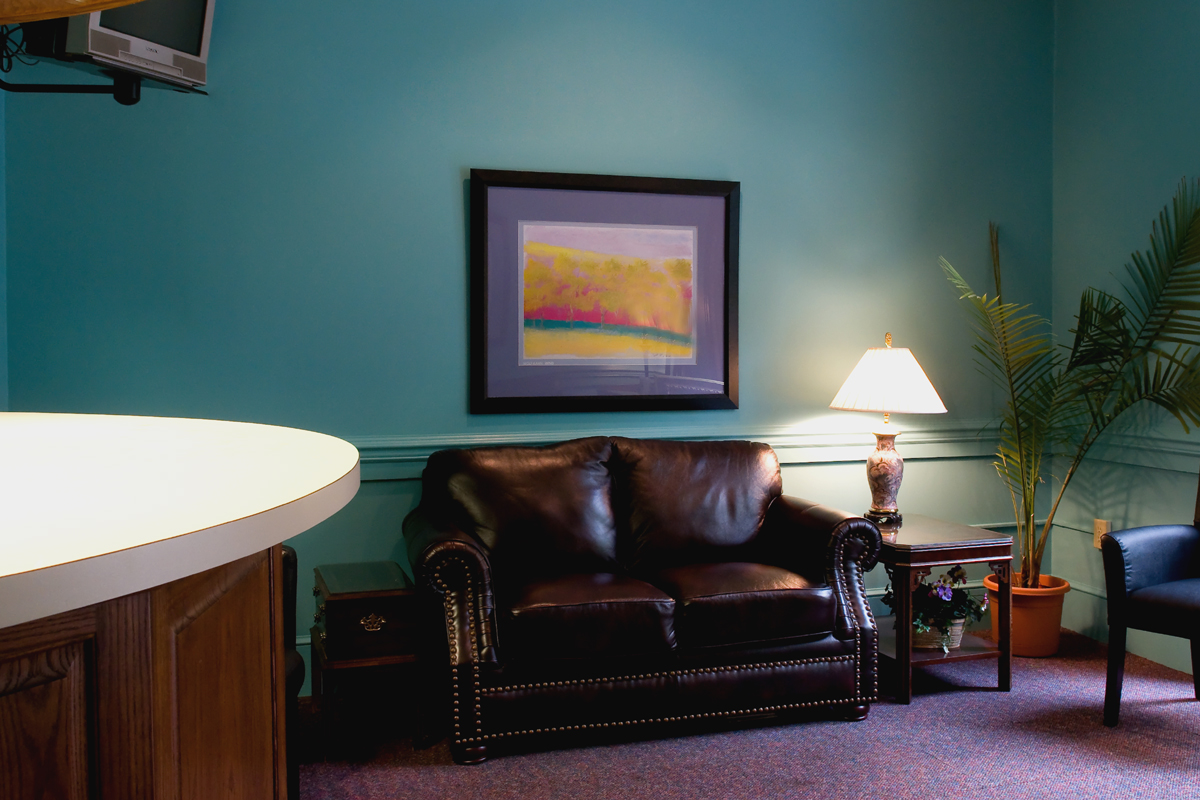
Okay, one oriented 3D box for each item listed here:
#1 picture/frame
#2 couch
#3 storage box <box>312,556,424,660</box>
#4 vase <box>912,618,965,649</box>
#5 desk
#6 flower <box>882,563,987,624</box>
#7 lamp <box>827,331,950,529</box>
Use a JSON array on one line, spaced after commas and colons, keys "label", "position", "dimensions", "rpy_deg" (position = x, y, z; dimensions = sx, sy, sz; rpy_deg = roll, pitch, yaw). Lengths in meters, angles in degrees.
[{"label": "picture/frame", "position": [-0.040, -0.531, 4.340], "dimensions": [1.161, 1.017, 0.056], "rpy_deg": [-1, 5, -13]}, {"label": "couch", "position": [0.157, 0.781, 3.914], "dimensions": [1.871, 1.092, 0.801], "rpy_deg": [-2, 9, -13]}, {"label": "storage box", "position": [-0.958, 0.823, 3.696], "dimensions": [0.345, 0.270, 0.347], "rpy_deg": [0, 0, -22]}, {"label": "vase", "position": [1.543, 1.074, 4.143], "dimensions": [0.167, 0.101, 0.151], "rpy_deg": [2, -9, -2]}, {"label": "desk", "position": [1.549, 0.934, 4.416], "dimensions": [0.639, 0.861, 0.883], "rpy_deg": [0, 0, -4]}, {"label": "flower", "position": [1.609, 0.914, 4.228], "dimensions": [0.352, 0.176, 0.365], "rpy_deg": [-5, 3, -28]}, {"label": "lamp", "position": [1.348, 0.165, 4.374], "dimensions": [0.542, 0.857, 0.539], "rpy_deg": [8, -6, -42]}]
